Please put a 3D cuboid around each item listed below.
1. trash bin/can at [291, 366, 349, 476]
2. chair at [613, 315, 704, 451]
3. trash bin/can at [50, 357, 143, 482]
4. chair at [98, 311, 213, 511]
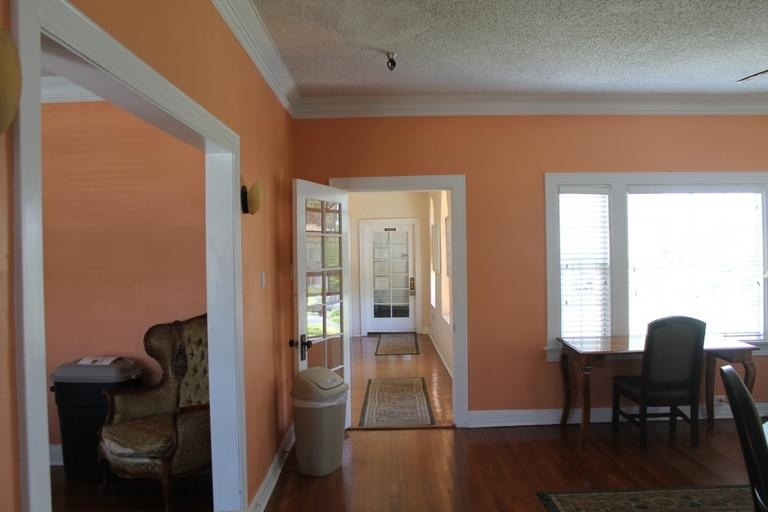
[{"bbox_3d":[-0.539,1.424,5.059,0.490,0.864,0.312,-3,9,-9],"label":"trash bin/can"},{"bbox_3d":[2.546,1.106,5.431,0.703,1.195,0.509,-2,9,-2],"label":"chair"},{"bbox_3d":[-2.474,1.385,5.075,0.753,0.850,0.644,-3,-11,10],"label":"trash bin/can"},{"bbox_3d":[-1.811,1.270,4.722,0.913,1.382,0.720,-6,10,-26],"label":"chair"}]
